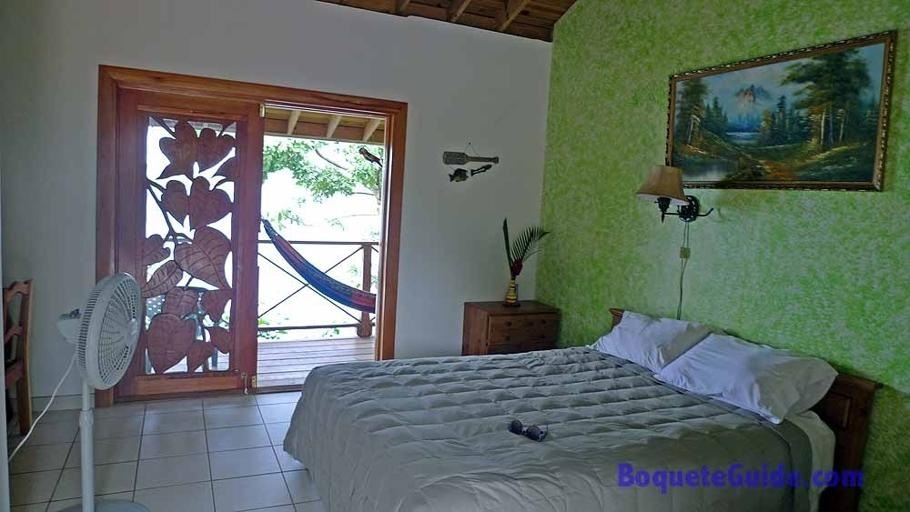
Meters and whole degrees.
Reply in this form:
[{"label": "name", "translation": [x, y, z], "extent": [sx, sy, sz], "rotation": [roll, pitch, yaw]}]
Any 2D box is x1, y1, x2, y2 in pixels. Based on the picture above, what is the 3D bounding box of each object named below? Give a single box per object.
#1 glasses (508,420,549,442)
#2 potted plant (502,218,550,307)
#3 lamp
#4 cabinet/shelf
[{"label": "glasses", "translation": [0.491, 1.210, 4.186], "extent": [0.142, 0.046, 0.218], "rotation": [2, -2, -26]}, {"label": "potted plant", "translation": [0.763, 0.065, 6.599], "extent": [0.571, 0.939, 0.366], "rotation": [1, 2, -16]}, {"label": "lamp", "translation": [1.916, -0.519, 5.262], "extent": [0.681, 0.474, 0.484], "rotation": [5, -2, -34]}, {"label": "cabinet/shelf", "translation": [0.605, 0.710, 6.515], "extent": [0.933, 0.768, 0.620], "rotation": [-2, 8, -15]}]
